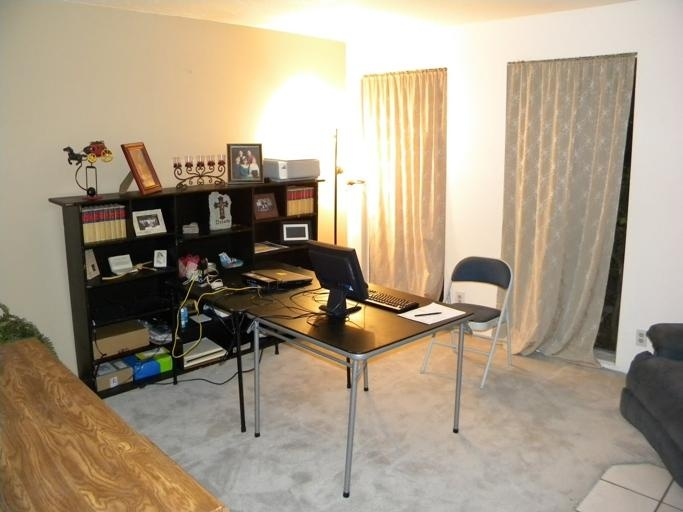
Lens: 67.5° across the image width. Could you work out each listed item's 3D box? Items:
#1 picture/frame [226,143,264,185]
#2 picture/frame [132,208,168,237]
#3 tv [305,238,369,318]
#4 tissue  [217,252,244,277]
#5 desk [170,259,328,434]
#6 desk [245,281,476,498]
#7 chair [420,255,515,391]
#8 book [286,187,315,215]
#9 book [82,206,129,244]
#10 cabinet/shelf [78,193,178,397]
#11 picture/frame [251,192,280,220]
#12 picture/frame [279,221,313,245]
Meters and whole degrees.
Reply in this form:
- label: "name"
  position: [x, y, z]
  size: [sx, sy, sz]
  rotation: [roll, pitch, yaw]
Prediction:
- label: "picture/frame"
  position: [-0.924, -0.877, 4.862]
  size: [0.358, 0.351, 0.026]
  rotation: [-4, 1, -23]
- label: "picture/frame"
  position: [-1.636, -0.280, 4.336]
  size: [0.015, 0.200, 0.225]
  rotation: [-18, -3, 39]
- label: "tv"
  position: [-0.038, 0.147, 3.588]
  size: [0.478, 0.521, 0.181]
  rotation: [14, 26, 43]
- label: "tissue "
  position: [-1.044, 0.071, 4.825]
  size: [0.197, 0.156, 0.207]
  rotation: [-2, 6, 20]
- label: "desk"
  position: [-0.706, 0.574, 4.197]
  size: [1.206, 0.982, 1.114]
  rotation: [9, 13, 40]
- label: "desk"
  position: [0.036, 0.554, 3.641]
  size: [1.384, 0.974, 1.277]
  rotation: [11, 17, 43]
- label: "chair"
  position: [1.190, 0.567, 4.704]
  size: [0.643, 1.063, 0.632]
  rotation: [-10, 16, -42]
- label: "book"
  position: [-0.471, -0.568, 5.363]
  size: [0.254, 0.360, 0.351]
  rotation: [8, 14, 31]
- label: "book"
  position: [-1.917, -0.263, 4.107]
  size: [0.258, 0.373, 0.362]
  rotation: [4, 11, 39]
- label: "cabinet/shelf"
  position: [-1.824, 0.280, 4.348]
  size: [0.812, 1.527, 0.407]
  rotation: [-9, 17, -40]
- label: "picture/frame"
  position: [-0.751, -0.500, 5.108]
  size: [0.291, 0.245, 0.189]
  rotation: [-10, 15, -28]
- label: "picture/frame"
  position: [-0.488, -0.240, 5.274]
  size: [0.293, 0.240, 0.032]
  rotation: [-2, -6, -20]
